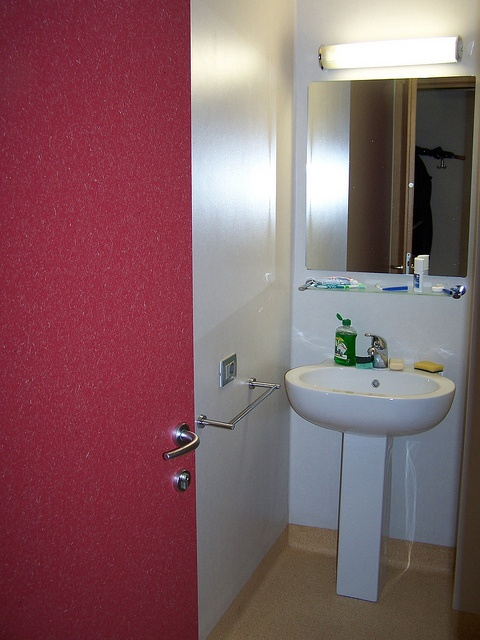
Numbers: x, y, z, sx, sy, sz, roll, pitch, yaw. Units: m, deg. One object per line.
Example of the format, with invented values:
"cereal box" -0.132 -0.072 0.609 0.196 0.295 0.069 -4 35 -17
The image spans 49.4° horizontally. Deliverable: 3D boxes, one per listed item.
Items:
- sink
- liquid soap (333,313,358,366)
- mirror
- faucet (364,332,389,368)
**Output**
"sink" 0.553 0.674 2.122 0.587 1.232 0.558 1 3 18
"liquid soap" 0.439 0.092 2.165 0.083 0.182 0.096 1 8 11
"mirror" 0.625 -0.595 2.076 0.556 0.975 0.110 3 12 26
"faucet" 0.567 0.115 2.155 0.089 0.136 0.155 2 9 17
